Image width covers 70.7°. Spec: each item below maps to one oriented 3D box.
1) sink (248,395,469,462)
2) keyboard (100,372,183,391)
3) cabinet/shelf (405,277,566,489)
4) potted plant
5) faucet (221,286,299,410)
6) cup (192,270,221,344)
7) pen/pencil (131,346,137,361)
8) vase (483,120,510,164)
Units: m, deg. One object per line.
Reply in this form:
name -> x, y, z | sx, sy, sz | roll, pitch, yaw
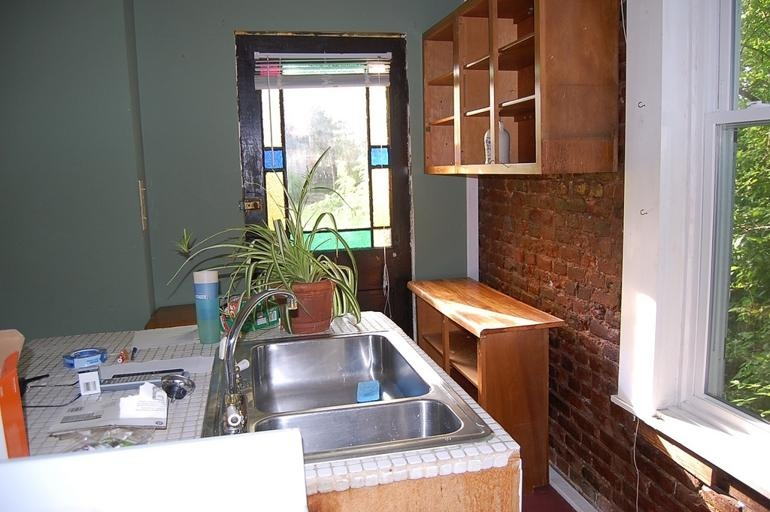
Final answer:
sink -> -0.039, 0.586, 1.691 | 0.542, 0.159, 0.318 | -7, 2, 2
keyboard -> -0.913, 0.445, 1.973 | 0.218, 0.030, 0.105 | -1, 4, -12
cabinet/shelf -> 0.719, 0.597, 3.538 | 0.439, 0.844, 1.156 | -8, 17, 0
potted plant -> -0.520, 0.004, 2.477 | 0.839, 0.721, 0.620 | -5, 6, -9
faucet -> -0.501, 0.381, 2.178 | 0.247, 0.544, 0.275 | -5, 28, -18
cup -> -0.781, 0.206, 2.376 | 0.101, 0.317, 0.140 | -6, 15, -19
pen/pencil -> -1.050, 0.401, 2.257 | 0.020, 0.010, 0.143 | 1, 9, -15
vase -> 0.647, -0.636, 3.010 | 0.123, 0.218, 0.125 | -10, -5, 40
